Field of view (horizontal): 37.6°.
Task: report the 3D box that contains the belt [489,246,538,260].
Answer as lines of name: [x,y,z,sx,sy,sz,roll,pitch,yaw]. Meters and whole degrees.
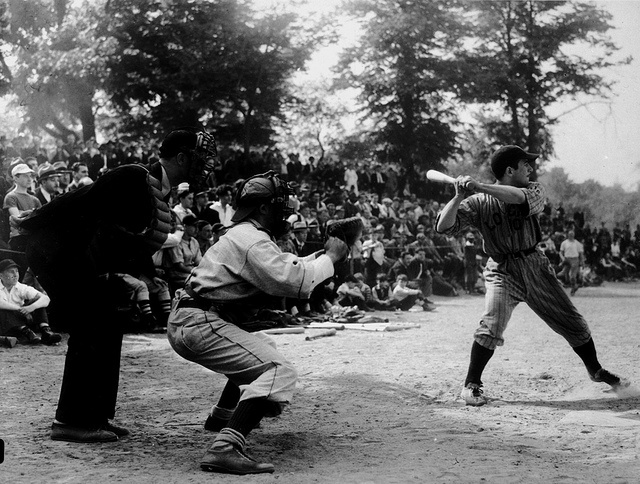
belt: [2.096,0.120,10.035,0.493,0.172,0.184,2,10,8]

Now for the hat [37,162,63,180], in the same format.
hat: [-3.824,-0.999,13.260,0.429,0.140,0.377,-11,-1,37]

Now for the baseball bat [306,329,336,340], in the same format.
baseball bat: [-0.025,1.327,13.482,0.138,0.099,0.656,-7,-5,31]

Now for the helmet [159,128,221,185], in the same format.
helmet: [-1.258,-0.808,8.890,0.582,0.484,0.446,11,-4,-6]

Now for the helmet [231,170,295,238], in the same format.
helmet: [-0.540,-0.375,8.744,0.650,0.506,0.461,-1,6,-13]

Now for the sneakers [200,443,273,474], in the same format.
sneakers: [-0.764,1.923,8.336,0.738,0.266,0.229,2,-5,-4]

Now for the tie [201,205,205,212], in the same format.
tie: [-1.903,-0.546,15.229,0.073,0.067,0.042,6,16,-31]

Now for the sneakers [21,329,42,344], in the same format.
sneakers: [-3.748,1.209,12.070,0.340,0.130,0.121,19,26,21]

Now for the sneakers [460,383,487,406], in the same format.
sneakers: [1.645,1.603,9.957,0.293,0.202,0.298,3,9,9]

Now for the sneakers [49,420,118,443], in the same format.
sneakers: [-2.208,1.776,8.773,0.659,0.225,0.207,1,-6,-1]

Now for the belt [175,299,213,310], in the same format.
belt: [-1.151,0.559,8.496,0.211,0.048,0.152,-8,-19,36]

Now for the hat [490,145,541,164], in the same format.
hat: [2.090,-0.943,10.033,0.361,0.123,0.225,-5,5,3]

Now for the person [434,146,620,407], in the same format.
person: [2.102,0.484,10.050,1.720,2.394,0.652,-1,11,-11]

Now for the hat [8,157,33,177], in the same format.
hat: [-4.094,-1.013,12.676,0.439,0.155,0.299,2,1,45]
